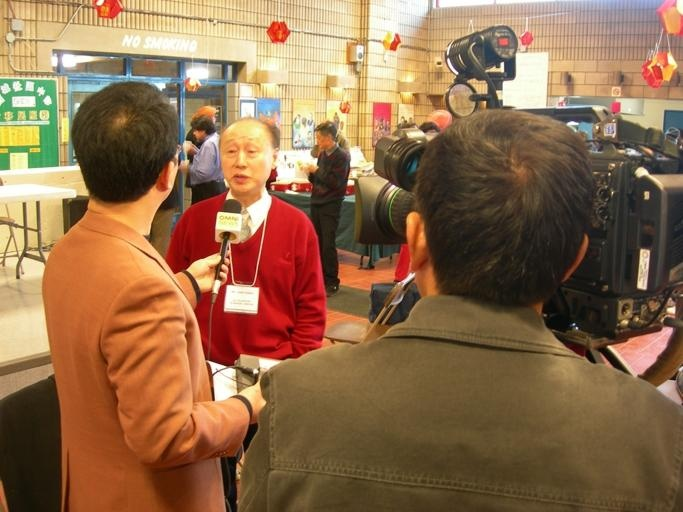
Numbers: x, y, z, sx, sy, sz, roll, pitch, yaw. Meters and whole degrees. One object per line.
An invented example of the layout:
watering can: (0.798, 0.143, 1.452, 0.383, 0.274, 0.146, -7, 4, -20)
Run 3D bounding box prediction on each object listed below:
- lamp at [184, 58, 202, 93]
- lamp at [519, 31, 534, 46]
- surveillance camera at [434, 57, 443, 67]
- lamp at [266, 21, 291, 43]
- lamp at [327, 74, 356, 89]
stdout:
lamp: (-2.456, -2.940, 9.381, 0.365, 0.442, 0.383, -7, 19, -19)
lamp: (3.656, -4.343, 11.328, 0.091, 0.355, 0.326, 4, 8, 40)
surveillance camera: (2.282, -4.566, 13.274, 0.183, 0.195, 0.134, 4, 5, 8)
lamp: (-1.035, -3.824, 9.737, 0.446, 0.463, 0.396, -6, 20, -17)
lamp: (0.015, -3.641, 11.758, 0.650, 0.285, 0.275, -6, 1, -37)
